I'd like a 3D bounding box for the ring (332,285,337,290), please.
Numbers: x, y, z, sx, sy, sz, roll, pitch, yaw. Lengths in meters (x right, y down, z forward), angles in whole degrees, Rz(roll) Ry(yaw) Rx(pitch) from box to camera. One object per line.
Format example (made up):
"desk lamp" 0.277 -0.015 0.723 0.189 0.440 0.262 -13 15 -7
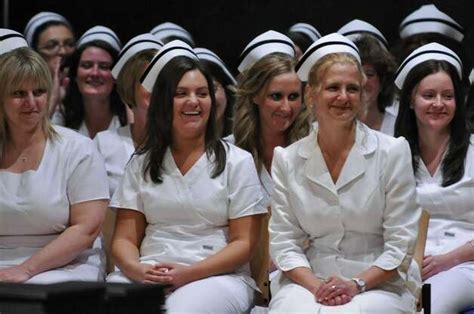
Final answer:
"ring" 0.624 0.830 3.676 0.026 0.029 0.028 -2 3 0

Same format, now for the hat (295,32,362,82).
"hat" 0.680 -0.729 4.300 0.454 0.334 0.335 -4 1 25

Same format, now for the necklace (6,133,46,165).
"necklace" -1.547 -0.055 4.223 0.159 0.221 0.118 -7 -26 -2

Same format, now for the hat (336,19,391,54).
"hat" 1.288 -1.256 5.789 0.396 0.175 0.390 25 -8 -40

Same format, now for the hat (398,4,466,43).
"hat" 2.003 -1.342 5.865 0.429 0.155 0.452 -2 -22 22

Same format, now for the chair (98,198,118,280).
"chair" -0.991 0.644 4.472 0.142 0.460 0.317 4 -18 -3

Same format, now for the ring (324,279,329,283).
"ring" 0.586 0.805 3.761 0.033 0.008 0.033 -2 7 0
